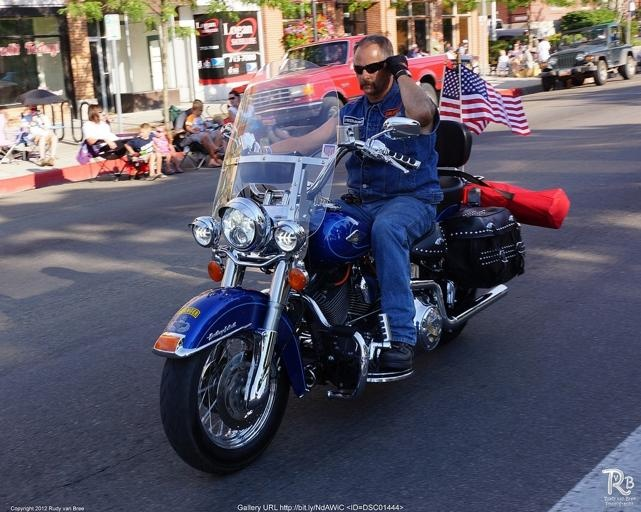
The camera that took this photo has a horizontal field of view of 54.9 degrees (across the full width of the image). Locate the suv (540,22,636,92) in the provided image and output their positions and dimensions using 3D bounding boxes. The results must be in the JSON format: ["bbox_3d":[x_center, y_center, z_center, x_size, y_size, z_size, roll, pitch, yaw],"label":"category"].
[{"bbox_3d":[11.368,-8.591,26.554,2.521,2.956,3.855,8,16,37],"label":"suv"}]

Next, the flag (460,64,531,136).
[{"bbox_3d":[1.862,-1.693,6.718,0.149,0.709,0.918,-24,27,-30],"label":"flag"}]

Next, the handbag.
[{"bbox_3d":[1.169,-0.069,4.663,0.485,0.342,0.648,-6,3,39],"label":"handbag"}]
